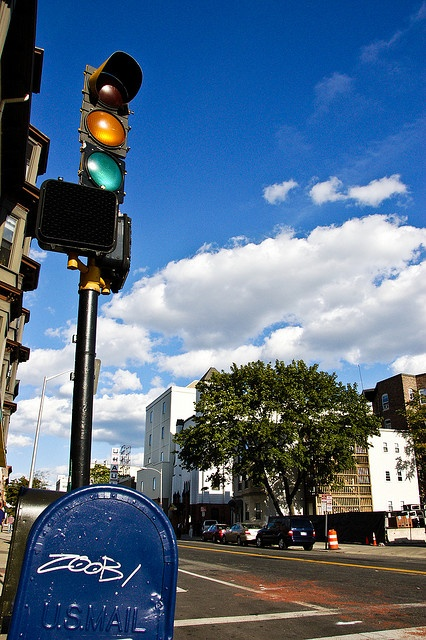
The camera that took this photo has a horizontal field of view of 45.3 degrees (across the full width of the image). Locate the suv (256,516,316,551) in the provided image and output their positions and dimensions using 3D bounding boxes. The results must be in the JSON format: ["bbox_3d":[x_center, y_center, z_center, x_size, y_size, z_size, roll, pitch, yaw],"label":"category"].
[{"bbox_3d":[3.912,11.554,27.507,1.624,1.493,3.532,13,-27,-20],"label":"suv"}]

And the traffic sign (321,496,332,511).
[{"bbox_3d":[5.424,8.839,24.560,0.419,0.824,1.034,-7,-18,16],"label":"traffic sign"}]

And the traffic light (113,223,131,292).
[{"bbox_3d":[-0.489,-0.367,2.735,0.061,0.372,0.306,3,-18,-16],"label":"traffic light"}]

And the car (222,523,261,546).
[{"bbox_3d":[1.893,13.796,32.983,1.401,1.124,3.402,8,-25,-17],"label":"car"}]

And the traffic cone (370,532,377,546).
[{"bbox_3d":[8.809,12.033,28.110,0.250,0.581,0.713,-7,-18,15],"label":"traffic cone"}]

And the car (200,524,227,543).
[{"bbox_3d":[0.194,15.391,36.922,1.248,1.046,3.027,8,-23,-15],"label":"car"}]

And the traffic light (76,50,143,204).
[{"bbox_3d":[-0.513,-1.021,2.551,0.282,0.782,0.380,3,-18,-16],"label":"traffic light"}]
